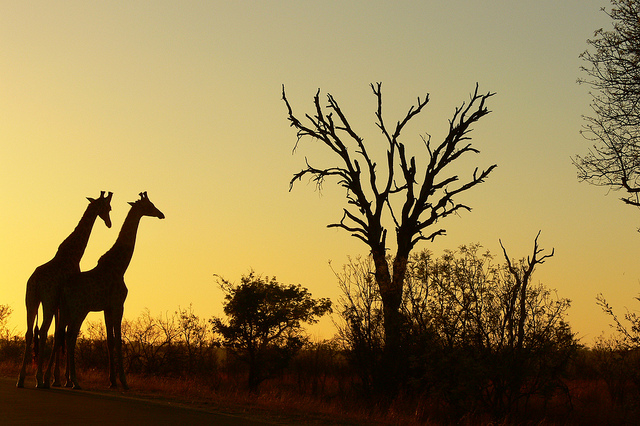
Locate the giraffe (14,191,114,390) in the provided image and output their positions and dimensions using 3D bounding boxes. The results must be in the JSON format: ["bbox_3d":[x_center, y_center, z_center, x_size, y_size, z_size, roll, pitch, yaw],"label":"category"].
[{"bbox_3d":[-9.193,2.607,33.698,2.220,7.529,0.939,10,-23,-18],"label":"giraffe"}]
